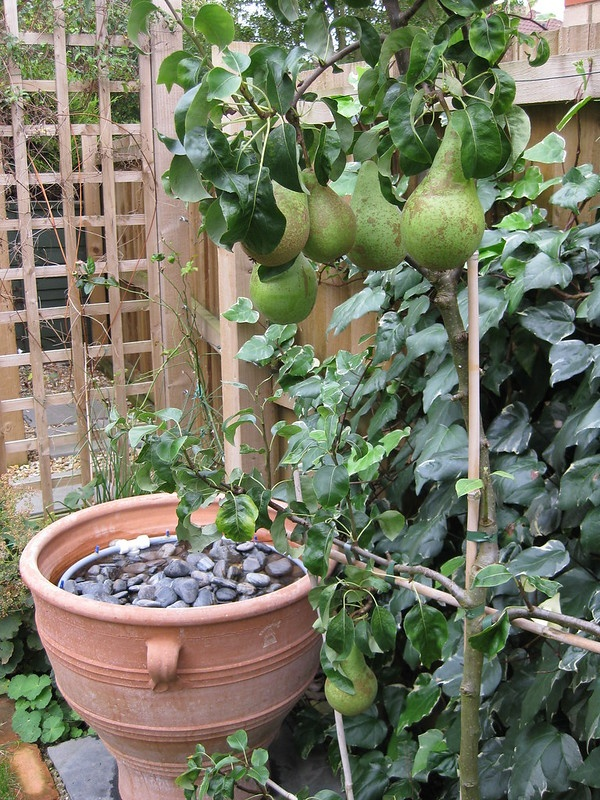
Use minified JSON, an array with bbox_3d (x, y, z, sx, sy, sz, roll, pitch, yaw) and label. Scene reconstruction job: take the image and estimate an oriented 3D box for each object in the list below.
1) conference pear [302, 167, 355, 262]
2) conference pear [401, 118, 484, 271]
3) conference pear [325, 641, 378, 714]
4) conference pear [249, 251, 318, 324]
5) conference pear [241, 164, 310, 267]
[{"bbox_3d":[0.025,-0.160,0.653,0.047,0.077,0.085,-5,9,4],"label":"conference pear"},{"bbox_3d":[0.110,-0.155,0.573,0.060,0.110,0.082,-1,10,25],"label":"conference pear"},{"bbox_3d":[0.068,0.419,1.081,0.069,0.129,0.075,-3,10,17],"label":"conference pear"},{"bbox_3d":[-0.013,-0.102,0.664,0.060,0.061,0.057,-21,31,-33],"label":"conference pear"},{"bbox_3d":[-0.017,-0.143,0.603,0.050,0.069,0.061,-5,9,5],"label":"conference pear"}]
